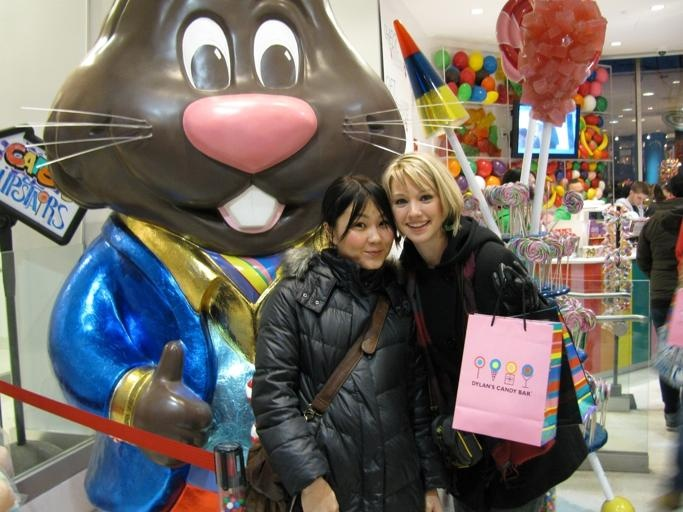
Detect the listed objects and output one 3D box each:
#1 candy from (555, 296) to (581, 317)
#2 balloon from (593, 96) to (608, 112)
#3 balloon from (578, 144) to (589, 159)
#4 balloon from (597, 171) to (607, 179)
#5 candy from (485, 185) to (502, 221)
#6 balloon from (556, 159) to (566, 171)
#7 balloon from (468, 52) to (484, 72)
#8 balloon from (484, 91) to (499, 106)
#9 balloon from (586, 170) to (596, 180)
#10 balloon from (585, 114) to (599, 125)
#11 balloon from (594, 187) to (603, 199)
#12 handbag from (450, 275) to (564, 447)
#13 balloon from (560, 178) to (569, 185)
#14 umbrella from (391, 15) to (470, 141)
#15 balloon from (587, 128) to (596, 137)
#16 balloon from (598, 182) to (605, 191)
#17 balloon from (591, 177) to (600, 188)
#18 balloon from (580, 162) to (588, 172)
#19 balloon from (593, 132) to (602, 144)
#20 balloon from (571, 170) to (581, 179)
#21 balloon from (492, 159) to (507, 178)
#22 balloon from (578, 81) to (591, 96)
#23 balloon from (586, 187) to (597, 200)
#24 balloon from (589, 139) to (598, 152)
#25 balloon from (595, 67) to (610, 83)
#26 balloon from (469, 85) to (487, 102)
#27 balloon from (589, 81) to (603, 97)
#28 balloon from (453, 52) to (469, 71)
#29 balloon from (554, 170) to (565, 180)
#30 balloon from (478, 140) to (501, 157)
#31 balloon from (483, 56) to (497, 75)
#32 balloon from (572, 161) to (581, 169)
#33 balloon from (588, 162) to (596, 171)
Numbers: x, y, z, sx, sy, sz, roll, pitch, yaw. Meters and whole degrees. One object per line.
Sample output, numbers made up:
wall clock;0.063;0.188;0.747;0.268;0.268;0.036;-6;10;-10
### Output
candy;0.963;0.213;2.246;0.092;0.045;0.094;-1;6;-13
balloon;3.471;-1.995;7.123;0.150;0.218;0.166;2;30;-4
balloon;3.183;-1.344;6.913;0.164;0.183;0.081;4;1;-36
balloon;3.600;-1.100;7.285;0.058;0.116;0.360;-2;2;35
candy;0.669;-0.231;2.363;0.117;0.156;0.060;-12;12;-35
balloon;2.801;-1.148;6.716;0.124;0.143;0.049;3;4;-15
balloon;1.536;-2.236;6.154;0.174;0.197;0.228;3;36;-1
balloon;1.803;-1.858;6.333;0.172;0.142;0.133;-22;-18;14
balloon;3.326;-1.056;7.019;0.095;0.106;0.126;9;49;1
balloon;3.350;-1.794;7.047;0.130;0.117;0.181;1;0;6
balloon;3.467;-0.847;7.126;0.103;0.116;0.135;-6;46;-3
handbag;0.484;0.312;1.514;0.269;0.421;0.210;3;10;38
balloon;2.860;-0.939;6.750;0.104;0.094;0.145;-5;3;11
umbrella;0.376;-0.747;2.211;0.276;0.536;0.298;-2;2;8
balloon;3.337;-1.652;7.083;0.104;0.118;0.109;1;37;8
balloon;3.539;-0.941;7.182;0.089;0.120;0.095;-9;-21;19
balloon;3.418;-0.979;7.118;0.106;0.147;0.114;-1;7;4
balloon;3.207;-1.160;6.977;0.089;0.102;0.111;2;21;9
balloon;3.461;-1.558;7.101;0.102;0.120;0.150;0;-4;8
balloon;3.071;-1.048;6.921;0.082;0.124;0.087;-3;16;-17
balloon;1.876;-1.022;6.344;0.171;0.204;0.247;-2;-8;5
balloon;3.122;-2.154;6.786;0.120;0.185;0.373;-2;2;34
balloon;3.350;-0.807;7.084;0.112;0.175;0.122;5;21;0
balloon;3.369;-1.440;7.063;0.100;0.130;0.101;-30;-29;33
balloon;3.491;-2.383;7.043;0.112;0.243;0.472;-2;2;34
balloon;1.603;-1.861;6.150;0.137;0.158;0.196;0;6;-2
balloon;3.335;-2.146;6.936;0.134;0.206;0.151;0;2;5
balloon;1.364;-2.219;6.083;0.165;0.230;0.178;-1;3;7
balloon;2.738;-0.996;6.625;0.098;0.112;0.125;4;28;4
balloon;1.781;-1.270;6.351;0.255;0.122;0.151;16;-13;-19
balloon;1.792;-2.242;6.317;0.103;0.223;0.355;-2;2;32
balloon;3.073;-1.164;6.899;0.095;0.109;0.121;3;11;3
balloon;3.331;-1.175;7.031;0.100;0.114;0.125;3;29;13
